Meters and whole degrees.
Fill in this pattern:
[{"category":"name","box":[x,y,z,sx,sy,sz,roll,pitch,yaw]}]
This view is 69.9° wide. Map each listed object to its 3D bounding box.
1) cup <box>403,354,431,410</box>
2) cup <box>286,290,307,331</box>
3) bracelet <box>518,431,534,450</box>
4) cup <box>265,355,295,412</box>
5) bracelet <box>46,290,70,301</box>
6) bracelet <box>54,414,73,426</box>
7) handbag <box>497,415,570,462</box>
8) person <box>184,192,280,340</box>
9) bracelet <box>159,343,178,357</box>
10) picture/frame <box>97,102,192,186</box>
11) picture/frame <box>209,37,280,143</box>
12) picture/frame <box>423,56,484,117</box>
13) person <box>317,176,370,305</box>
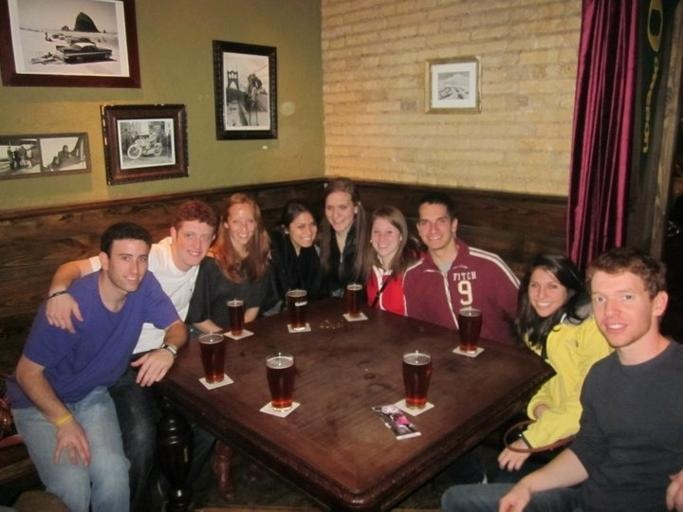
[{"category":"cup","box":[0.286,0.467,1.856,0.123,0.196,0.126,0,6,0]},{"category":"cup","box":[-0.227,0.273,2.491,0.129,0.209,0.130,-1,13,0]},{"category":"bracelet","box":[0.778,0.785,2.053,0.013,0.050,0.050,-32,16,18]},{"category":"cup","box":[-0.225,0.467,1.841,0.099,0.207,0.141,-7,14,-10]},{"category":"bracelet","box":[-1.351,0.185,2.326,0.089,0.030,0.084,-12,16,-30]},{"category":"bracelet","box":[-1.242,0.733,2.185,0.074,0.040,0.034,-14,17,-34]},{"category":"handbag","box":[0.790,0.817,2.093,0.239,0.070,0.273,-8,-4,-43]},{"category":"person","box":[-0.659,0.086,3.066,0.617,0.863,0.484,-2,26,-29]},{"category":"bracelet","box":[-0.794,0.427,2.246,0.067,0.069,0.044,-23,7,-17]},{"category":"picture/frame","box":[-1.657,-0.934,4.034,0.702,0.588,0.051,-14,21,-42]},{"category":"picture/frame","box":[-0.935,-1.575,4.582,0.946,1.077,0.078,-13,22,-40]},{"category":"picture/frame","box":[0.990,-1.473,4.220,0.576,0.499,0.064,7,10,40]},{"category":"person","box":[0.009,-0.132,3.585,0.554,0.749,0.263,-6,14,-25]}]
